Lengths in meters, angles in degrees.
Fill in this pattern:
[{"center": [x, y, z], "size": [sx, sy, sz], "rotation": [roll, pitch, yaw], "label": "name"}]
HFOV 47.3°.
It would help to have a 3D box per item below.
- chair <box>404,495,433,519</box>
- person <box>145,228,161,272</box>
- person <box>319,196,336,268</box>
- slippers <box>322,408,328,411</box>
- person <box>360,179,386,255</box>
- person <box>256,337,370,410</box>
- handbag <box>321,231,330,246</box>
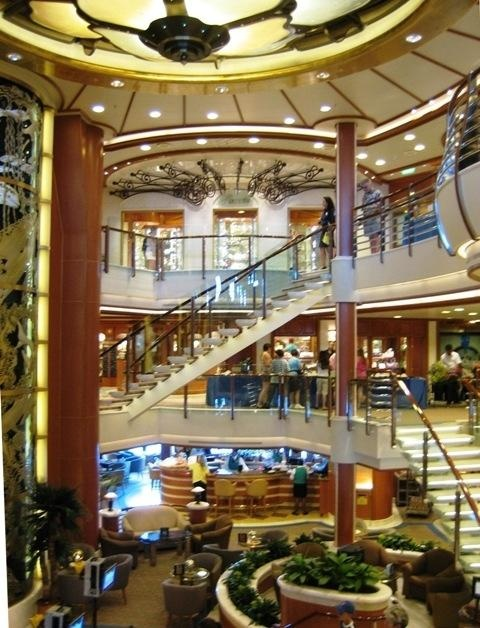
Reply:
[{"center": [4.134, 4.536, 12.874], "size": [0.582, 0.494, 0.397], "rotation": [-1, -2, 14], "label": "chair"}, {"center": [-2.121, -1.453, 13.361], "size": [0.239, 0.805, 0.587], "rotation": [-1, -2, 22], "label": "person"}, {"center": [1.728, -1.660, 11.079], "size": [0.310, 1.483, 0.720], "rotation": [-1, -2, 8], "label": "person"}, {"center": [1.614, 1.836, 10.575], "size": [0.092, 0.079, 0.039], "rotation": [-4, -3, 37], "label": "slippers"}, {"center": [2.361, -1.760, 9.858], "size": [0.385, 1.435, 1.292], "rotation": [-1, -2, 14], "label": "person"}, {"center": [1.227, 1.345, 11.160], "size": [1.659, 0.911, 1.553], "rotation": [1, -3, -12], "label": "person"}, {"center": [1.694, -1.507, 11.028], "size": [0.117, 0.267, 0.255], "rotation": [0, -2, -7], "label": "handbag"}]
